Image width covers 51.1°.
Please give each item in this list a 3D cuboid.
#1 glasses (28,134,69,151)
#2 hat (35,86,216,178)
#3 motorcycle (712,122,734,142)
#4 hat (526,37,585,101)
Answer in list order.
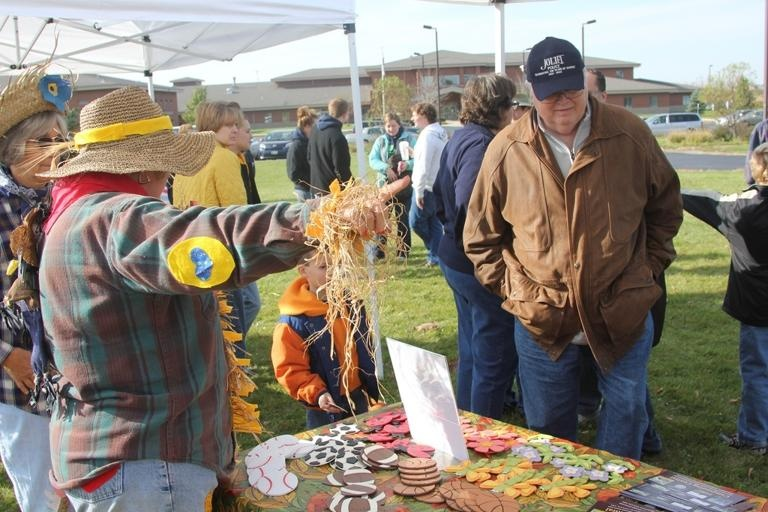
[{"bbox_3d":[-1.708,-0.576,4.048,0.172,0.117,0.054,-14,-19,-27],"label":"glasses"},{"bbox_3d":[-1.121,-0.538,3.626,0.532,0.251,0.550,10,26,34],"label":"hat"},{"bbox_3d":[13.341,-4.840,31.492,0.741,0.594,1.606,-3,7,24],"label":"motorcycle"},{"bbox_3d":[0.970,-1.080,4.561,0.324,0.368,0.225,-5,7,9],"label":"hat"}]
